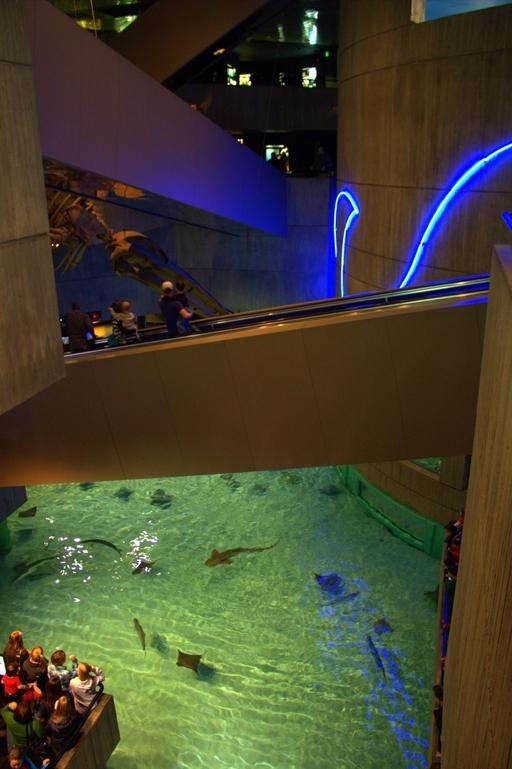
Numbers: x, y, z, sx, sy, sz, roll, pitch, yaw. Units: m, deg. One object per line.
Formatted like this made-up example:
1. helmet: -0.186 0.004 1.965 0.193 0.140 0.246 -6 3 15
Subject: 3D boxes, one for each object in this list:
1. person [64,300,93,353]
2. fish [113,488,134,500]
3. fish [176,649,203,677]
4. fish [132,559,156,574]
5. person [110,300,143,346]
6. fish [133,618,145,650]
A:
1. person: -2.403 -0.799 6.629 0.334 0.555 0.721 -6 15 -19
2. fish: -2.725 2.254 10.051 0.350 0.042 0.470 -1 16 1
3. fish: -0.871 3.476 6.209 0.316 0.238 0.307 -1 15 1
4. fish: -1.830 2.976 7.940 0.265 0.040 0.377 3 16 15
5. person: -1.705 -0.826 6.421 0.345 0.501 0.880 -5 15 -15
6. fish: -1.568 3.342 6.528 0.083 0.471 0.170 -3 -11 -42
